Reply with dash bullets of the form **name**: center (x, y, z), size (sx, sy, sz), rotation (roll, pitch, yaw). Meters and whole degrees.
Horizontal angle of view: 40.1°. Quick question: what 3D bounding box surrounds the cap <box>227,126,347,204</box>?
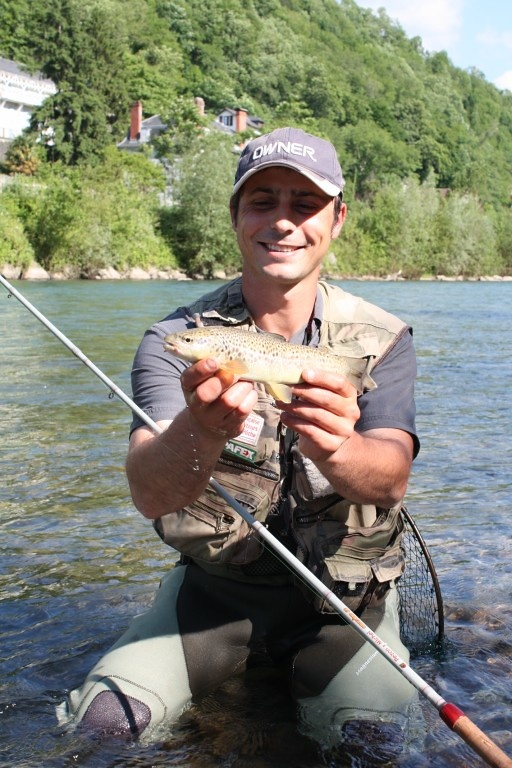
- **cap**: center (0.130, -0.864, 2.728), size (0.429, 0.266, 0.554), rotation (3, 6, 8)

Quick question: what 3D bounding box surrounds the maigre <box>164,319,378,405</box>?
- **maigre**: center (0.053, -0.050, 2.021), size (0.667, 0.185, 0.128), rotation (10, -11, -25)

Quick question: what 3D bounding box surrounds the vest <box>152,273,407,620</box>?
- **vest**: center (0.168, 0.183, 2.947), size (1.439, 1.469, 1.033), rotation (1, -2, -8)
